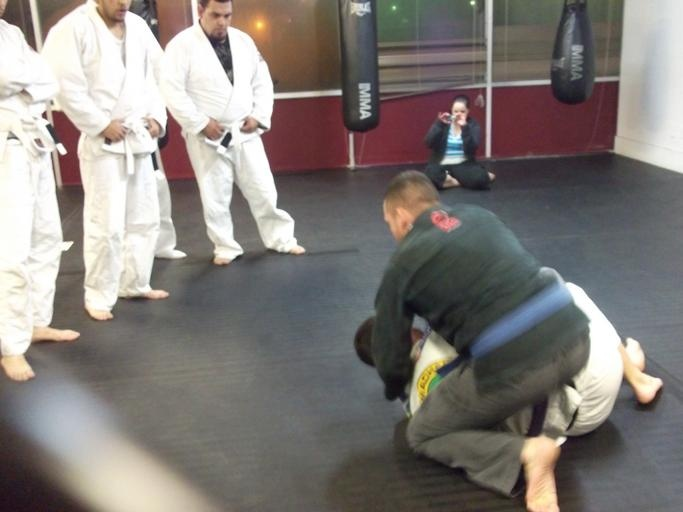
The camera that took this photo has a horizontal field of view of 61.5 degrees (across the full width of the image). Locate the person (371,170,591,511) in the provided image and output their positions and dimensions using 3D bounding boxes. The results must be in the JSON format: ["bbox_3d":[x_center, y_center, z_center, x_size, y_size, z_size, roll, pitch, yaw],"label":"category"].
[{"bbox_3d":[0.623,0.183,2.454,0.805,1.141,1.111,-24,22,-21],"label":"person"}]

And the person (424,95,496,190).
[{"bbox_3d":[1.136,-1.149,5.695,0.679,0.858,0.738,-7,13,-30],"label":"person"}]

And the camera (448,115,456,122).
[{"bbox_3d":[1.076,-1.344,5.560,0.041,0.053,0.052,-1,2,24],"label":"camera"}]

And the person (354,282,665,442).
[{"bbox_3d":[0.608,0.514,2.358,0.903,0.291,0.743,-8,8,45],"label":"person"}]
